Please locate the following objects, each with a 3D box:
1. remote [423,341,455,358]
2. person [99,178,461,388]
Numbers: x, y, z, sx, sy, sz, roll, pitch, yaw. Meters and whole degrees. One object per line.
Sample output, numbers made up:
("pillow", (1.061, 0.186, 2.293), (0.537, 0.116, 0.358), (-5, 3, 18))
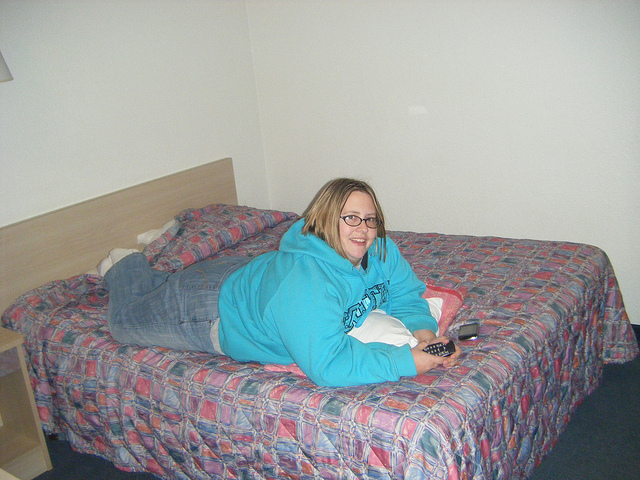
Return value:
("remote", (0.495, 0.457, 2.045), (0.125, 0.018, 0.058), (-5, 36, -9))
("person", (-0.227, 0.071, 2.299), (1.592, 0.722, 0.805), (6, 17, 19))
